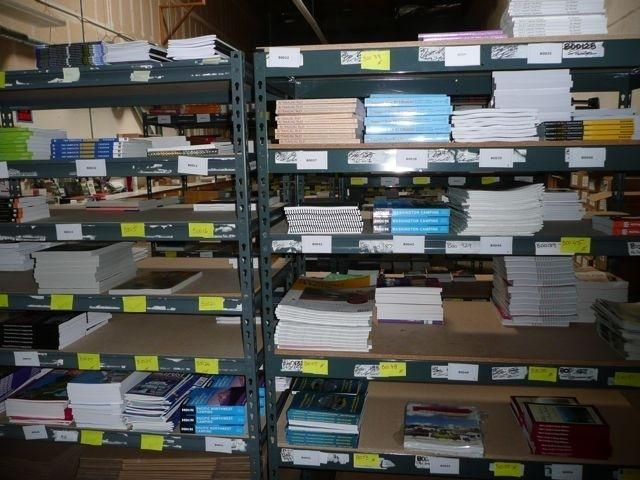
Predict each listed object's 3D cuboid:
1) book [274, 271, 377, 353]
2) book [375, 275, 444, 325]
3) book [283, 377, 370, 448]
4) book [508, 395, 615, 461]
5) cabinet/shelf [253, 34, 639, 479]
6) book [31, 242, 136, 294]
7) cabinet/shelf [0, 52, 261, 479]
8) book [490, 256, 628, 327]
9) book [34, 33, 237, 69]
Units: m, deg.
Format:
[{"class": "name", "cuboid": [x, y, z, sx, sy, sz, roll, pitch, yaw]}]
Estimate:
[{"class": "book", "cuboid": [0.028, 0.382, 2.682, 0.512, 0.143, 0.579, 0, 8, 4]}, {"class": "book", "cuboid": [0.478, 0.319, 2.769, 0.353, 0.141, 0.286, 0, 4, 5]}, {"class": "book", "cuboid": [0.020, 0.882, 2.702, 0.397, 0.111, 0.401, 1, 8, 4]}, {"class": "book", "cuboid": [1.177, 0.904, 2.531, 0.361, 0.192, 0.306, -3, 10, 5]}, {"class": "cabinet/shelf", "cuboid": [0.605, 0.082, 2.545, 1.798, 2.059, 0.711, -3, 13, 13]}, {"class": "book", "cuboid": [-1.288, 0.131, 2.769, 0.406, 0.159, 0.435, 0, 5, 4]}, {"class": "cabinet/shelf", "cuboid": [-0.931, 0.207, 2.712, 1.405, 2.176, 0.619, -6, 13, -1]}, {"class": "book", "cuboid": [1.260, 0.260, 2.802, 0.697, 0.162, 0.410, 0, 6, -3]}, {"class": "book", "cuboid": [-0.905, -0.917, 2.526, 1.038, 0.171, 0.216, -2, 11, 7]}]
